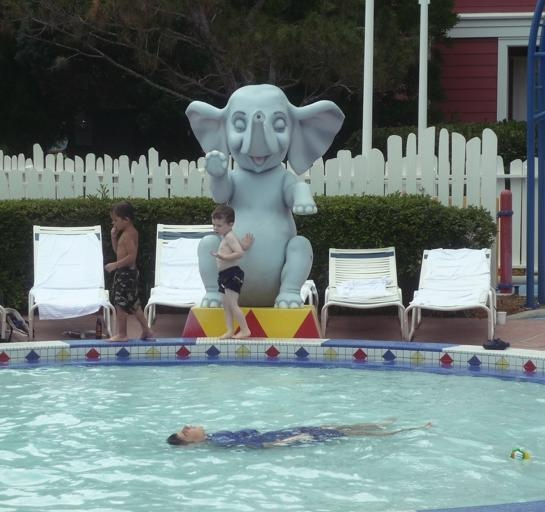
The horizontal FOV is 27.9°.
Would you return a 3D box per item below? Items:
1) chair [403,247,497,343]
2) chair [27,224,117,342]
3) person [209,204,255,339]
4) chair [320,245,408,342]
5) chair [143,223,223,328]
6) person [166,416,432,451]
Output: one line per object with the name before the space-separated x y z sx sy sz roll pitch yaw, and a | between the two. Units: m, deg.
chair | 1.871 0.441 11.282 0.876 1.096 1.575 2 0 13
chair | -2.129 0.320 11.522 0.854 1.216 1.624 0 4 -11
person | -0.357 0.157 10.241 0.373 1.256 0.236 -1 4 -3
chair | 0.943 0.404 11.504 0.875 0.835 1.306 -1 7 10
chair | -0.982 0.239 11.789 0.727 0.771 1.364 -1 24 8
person | 0.193 1.346 8.217 1.933 0.257 0.639 -2 -5 -2
